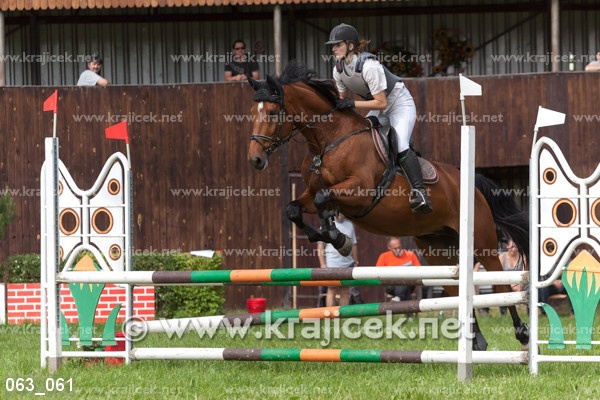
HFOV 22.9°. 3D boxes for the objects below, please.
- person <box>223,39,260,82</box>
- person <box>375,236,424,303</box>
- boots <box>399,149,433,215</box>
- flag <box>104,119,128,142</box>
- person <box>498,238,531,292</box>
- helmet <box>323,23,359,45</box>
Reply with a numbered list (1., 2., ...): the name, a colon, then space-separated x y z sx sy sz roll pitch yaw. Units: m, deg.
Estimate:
1. person: -1.158 -2.674 28.954 0.660 1.014 0.637 -2 -12 -9
2. person: 1.693 1.231 25.967 0.760 1.175 0.656 -7 4 -29
3. boots: 1.803 -0.245 23.333 0.431 1.328 0.293 -14 -27 -2
4. flag: -3.135 -1.207 25.491 0.406 0.498 0.091 4 12 3
5. person: 3.508 1.077 24.203 0.233 0.914 0.484 -15 4 18
6. helmet: 0.682 -2.637 23.432 0.397 0.260 0.313 -3 10 -8
